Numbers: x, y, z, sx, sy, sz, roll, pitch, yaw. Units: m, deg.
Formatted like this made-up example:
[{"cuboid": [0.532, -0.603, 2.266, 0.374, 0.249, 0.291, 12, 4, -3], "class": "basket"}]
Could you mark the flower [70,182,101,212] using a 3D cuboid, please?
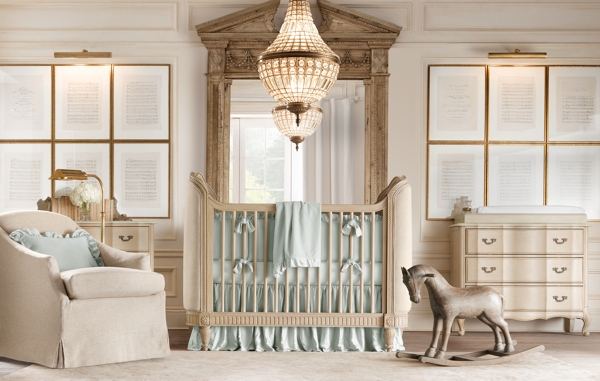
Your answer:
[{"cuboid": [-2.317, 0.086, 8.697, 0.289, 0.267, 0.287, 0, 13, 38], "class": "flower"}]

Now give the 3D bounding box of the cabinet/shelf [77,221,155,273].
[{"cuboid": [-1.839, 0.568, 8.018, 0.604, 0.485, 0.234, 0, -2, -7], "class": "cabinet/shelf"}]

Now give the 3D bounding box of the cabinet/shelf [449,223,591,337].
[{"cuboid": [2.487, 0.956, 8.662, 1.399, 1.144, 0.515, -4, -11, 37], "class": "cabinet/shelf"}]

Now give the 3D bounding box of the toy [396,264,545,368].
[{"cuboid": [1.521, 1.166, 7.492, 1.289, 0.869, 0.461, 1, -6, -24], "class": "toy"}]

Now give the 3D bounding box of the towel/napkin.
[{"cuboid": [-0.030, 0.480, 7.740, 0.441, 0.729, 0.105, 2, 0, -5], "class": "towel/napkin"}]

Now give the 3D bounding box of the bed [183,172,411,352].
[{"cuboid": [0.060, 0.831, 8.348, 2.402, 1.577, 1.337, -2, -9, 6], "class": "bed"}]

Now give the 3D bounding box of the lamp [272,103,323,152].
[{"cuboid": [-0.044, -0.641, 8.614, 0.624, 0.376, 0.607, -3, -4, 23], "class": "lamp"}]
